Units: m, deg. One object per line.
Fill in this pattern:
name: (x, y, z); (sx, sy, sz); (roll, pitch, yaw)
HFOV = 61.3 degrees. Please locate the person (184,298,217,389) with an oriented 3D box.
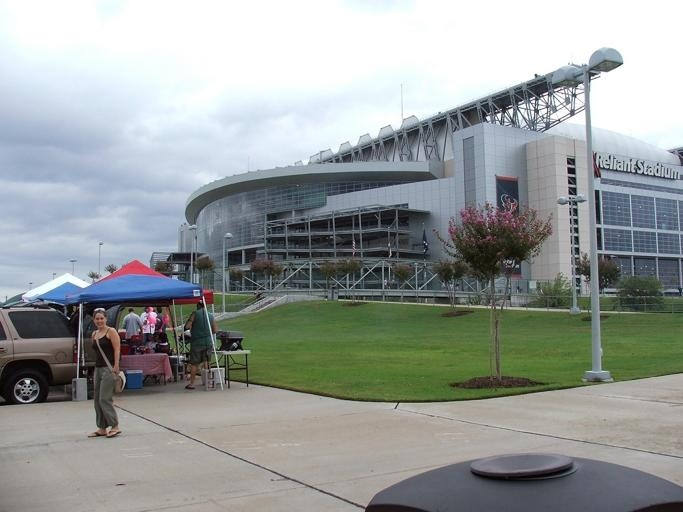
person: (-3.752, 2.323, 15.267); (0.764, 2.307, 1.533); (3, -3, -14)

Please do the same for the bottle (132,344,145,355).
bottle: (-5.713, 2.635, 16.285); (0.351, 0.227, 0.662); (3, -3, -19)

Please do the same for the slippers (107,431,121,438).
slippers: (-3.693, 2.866, 9.349); (0.199, 0.090, 0.309); (2, -3, -7)

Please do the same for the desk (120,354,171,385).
desk: (-5.120, 2.852, 15.032); (1.165, 0.486, 1.109); (7, -12, -31)

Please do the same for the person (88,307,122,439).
person: (-3.898, 1.933, 9.635); (0.524, 2.060, 0.905); (4, -4, -22)

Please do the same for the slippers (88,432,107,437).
slippers: (-3.920, 2.885, 9.353); (0.309, 0.068, 0.107); (8, -12, -27)
